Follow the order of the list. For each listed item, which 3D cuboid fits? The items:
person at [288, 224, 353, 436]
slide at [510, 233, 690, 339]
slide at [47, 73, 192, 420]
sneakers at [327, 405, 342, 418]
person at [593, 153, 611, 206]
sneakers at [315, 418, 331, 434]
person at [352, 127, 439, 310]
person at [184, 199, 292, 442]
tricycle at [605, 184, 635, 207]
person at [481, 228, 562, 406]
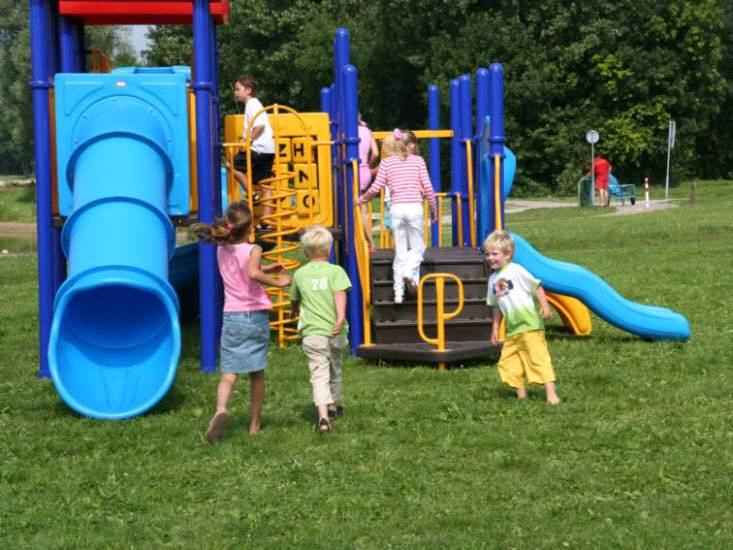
[{"bbox_3d":[-0.461,0.737,12.635,0.616,1.749,0.476,-3,3,-1],"label":"person"},{"bbox_3d":[3.243,0.174,16.323,2.168,0.669,0.398,25,33,5],"label":"slide"},{"bbox_3d":[-2.743,-0.426,13.358,1.499,3.782,1.636,-3,3,-6],"label":"slide"},{"bbox_3d":[-0.344,1.451,12.894,0.073,0.091,0.204,1,7,17],"label":"sneakers"},{"bbox_3d":[6.640,-2.605,33.750,0.436,1.294,3.076,-2,3,11],"label":"person"},{"bbox_3d":[-0.448,1.549,12.609,0.153,0.165,0.212,-3,3,-3],"label":"sneakers"},{"bbox_3d":[0.460,-0.725,14.880,0.833,2.083,0.664,-5,4,-39],"label":"person"},{"bbox_3d":[-1.299,0.453,12.428,0.853,2.399,0.406,-3,3,-8],"label":"person"},{"bbox_3d":[7.272,-2.253,34.131,0.556,0.579,0.848,1,6,1],"label":"tricycle"},{"bbox_3d":[1.699,0.454,13.153,0.750,1.883,0.332,-1,4,34],"label":"person"}]
